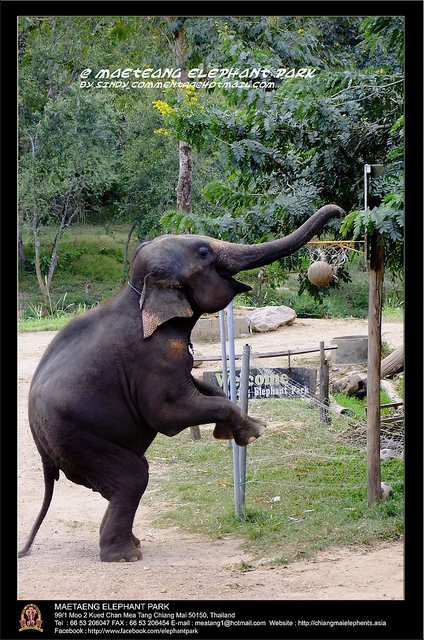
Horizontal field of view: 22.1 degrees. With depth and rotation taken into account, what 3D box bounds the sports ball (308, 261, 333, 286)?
[{"bbox_3d":[0.876,-0.365,8.750,0.201,0.188,0.191,0,6,0],"label":"sports ball"}]
